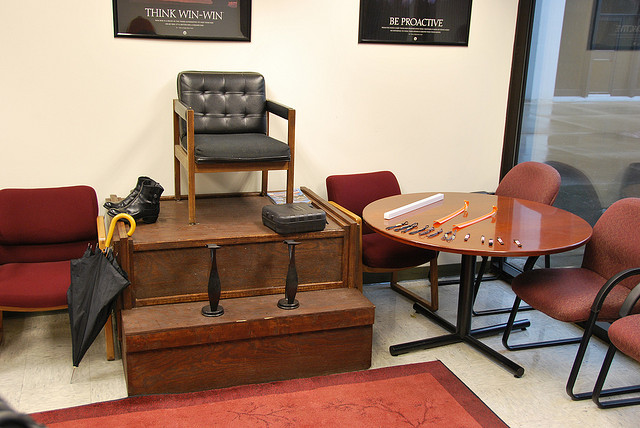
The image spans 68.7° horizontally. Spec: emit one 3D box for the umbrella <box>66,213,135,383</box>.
[{"bbox_3d":[-1.533,0.590,3.185,0.441,0.718,0.386,-15,25,-27],"label":"umbrella"}]

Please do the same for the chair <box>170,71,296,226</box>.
[{"bbox_3d":[-0.707,-0.606,3.791,1.010,0.968,1.023,1,22,-8],"label":"chair"}]

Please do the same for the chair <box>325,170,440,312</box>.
[{"bbox_3d":[0.496,0.244,4.058,0.893,1.133,0.833,-8,17,-32],"label":"chair"}]

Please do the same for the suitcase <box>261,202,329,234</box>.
[{"bbox_3d":[-0.199,0.031,3.544,0.504,0.138,0.461,-4,13,5],"label":"suitcase"}]

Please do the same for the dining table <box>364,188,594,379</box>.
[{"bbox_3d":[1.105,0.516,3.589,1.470,1.403,0.881,5,64,-6],"label":"dining table"}]
